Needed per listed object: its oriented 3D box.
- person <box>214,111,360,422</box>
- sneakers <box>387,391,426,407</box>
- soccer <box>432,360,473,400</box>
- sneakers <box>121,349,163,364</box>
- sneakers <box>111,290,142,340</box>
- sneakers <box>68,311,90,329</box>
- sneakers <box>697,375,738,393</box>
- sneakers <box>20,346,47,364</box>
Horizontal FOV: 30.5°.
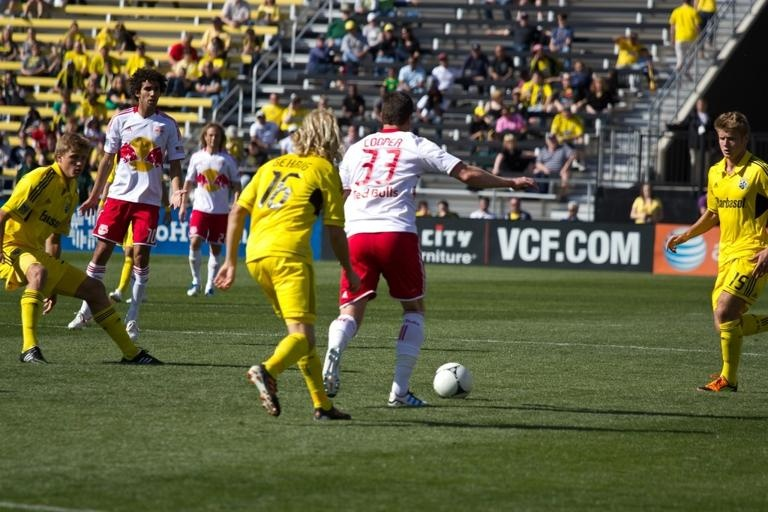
[{"bbox_3d":[-1.025,0.096,15.664,1.445,3.393,1.050,1,10,-5],"label":"person"},{"bbox_3d":[0.252,1.631,16.323,0.401,0.175,0.179,0,-2,-14],"label":"sneakers"},{"bbox_3d":[0.811,1.437,16.564,0.398,0.404,0.408,-15,-5,8],"label":"soccer"},{"bbox_3d":[-2.969,1.235,17.396,0.523,0.213,0.180,-1,0,-5],"label":"sneakers"},{"bbox_3d":[-3.476,0.801,19.026,0.208,0.304,0.683,-15,-40,8],"label":"sneakers"},{"bbox_3d":[-4.236,0.889,19.294,0.411,0.201,0.173,-3,-3,27],"label":"sneakers"},{"bbox_3d":[4.060,1.550,17.180,0.529,0.237,0.181,3,-6,0],"label":"sneakers"},{"bbox_3d":[-4.280,1.191,17.246,0.383,0.169,0.145,3,4,36],"label":"sneakers"}]
